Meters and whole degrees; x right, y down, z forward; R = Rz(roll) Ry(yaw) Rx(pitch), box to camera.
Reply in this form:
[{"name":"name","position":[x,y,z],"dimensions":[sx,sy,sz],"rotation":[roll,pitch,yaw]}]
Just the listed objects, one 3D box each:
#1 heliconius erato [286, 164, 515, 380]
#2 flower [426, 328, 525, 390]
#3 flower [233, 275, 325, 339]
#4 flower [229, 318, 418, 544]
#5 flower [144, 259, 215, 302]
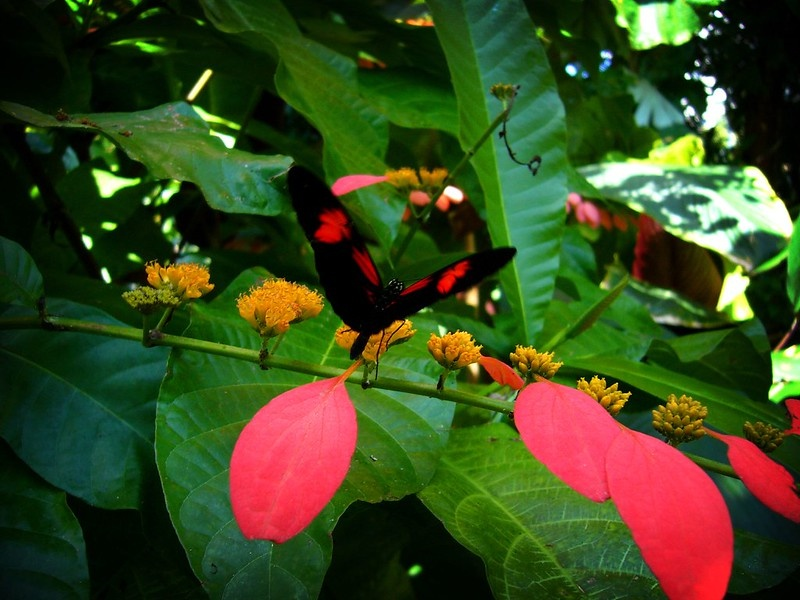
[{"name":"heliconius erato","position":[-0.024,-0.012,1.062],"dimensions":[0.345,0.162,0.167],"rotation":[20,46,-24]},{"name":"flower","position":[0.105,0.077,1.064],"dimensions":[0.093,0.051,0.097],"rotation":[26,26,1]},{"name":"flower","position":[-0.185,0.012,1.103],"dimensions":[0.140,0.091,0.134],"rotation":[-4,18,-2]},{"name":"flower","position":[-0.116,0.156,0.953],"dimensions":[0.092,0.038,0.282],"rotation":[20,38,10]},{"name":"flower","position":[-0.320,-0.035,1.105],"dimensions":[0.073,0.046,0.071],"rotation":[1,4,10]}]
